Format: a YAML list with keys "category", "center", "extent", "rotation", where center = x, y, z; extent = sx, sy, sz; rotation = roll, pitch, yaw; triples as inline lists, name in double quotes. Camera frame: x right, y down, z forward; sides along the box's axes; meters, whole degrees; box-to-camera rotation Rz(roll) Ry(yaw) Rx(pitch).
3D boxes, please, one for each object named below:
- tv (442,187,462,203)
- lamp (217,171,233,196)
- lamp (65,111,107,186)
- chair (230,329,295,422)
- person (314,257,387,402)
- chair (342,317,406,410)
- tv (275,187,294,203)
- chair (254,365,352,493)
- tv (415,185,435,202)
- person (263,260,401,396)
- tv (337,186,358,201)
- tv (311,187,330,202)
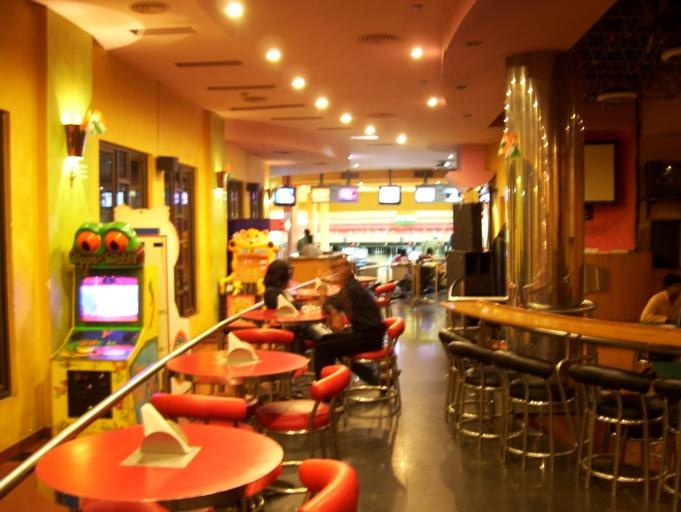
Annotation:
- category: "tv"
  center: [4.558, -2.516, 23.650]
  extent: [0.683, 0.658, 1.297]
  rotation: [2, 6, 33]
- category: "lamp"
  center: [-2.195, -1.398, 10.873]
  extent: [0.195, 0.400, 0.406]
  rotation: [-1, 5, 2]
- category: "lamp"
  center: [-2.806, -1.182, 6.378]
  extent: [0.323, 0.803, 0.363]
  rotation: [-1, 5, 5]
- category: "chair"
  center: [-0.743, 1.208, 5.893]
  extent: [0.918, 1.072, 0.693]
  rotation: [0, -9, 0]
- category: "person"
  center: [0.086, 0.635, 6.194]
  extent: [0.824, 1.159, 0.606]
  rotation: [-3, 5, -13]
- category: "chair"
  center: [0.428, 1.193, 6.626]
  extent: [0.819, 1.304, 0.854]
  rotation: [0, -1, -1]
- category: "tv"
  center: [-1.646, -1.754, 17.196]
  extent: [0.459, 0.492, 0.487]
  rotation: [-2, 3, 13]
- category: "chair"
  center: [-0.218, 1.243, 4.429]
  extent: [0.872, 1.103, 0.920]
  rotation: [1, -2, 5]
- category: "tv"
  center: [3.297, -2.428, 22.314]
  extent: [0.838, 0.624, 0.535]
  rotation: [-2, 5, -5]
- category: "person"
  center: [-0.044, 0.752, 6.442]
  extent: [1.227, 1.383, 0.907]
  rotation: [2, -13, 24]
- category: "tv"
  center: [0.269, -2.335, 21.907]
  extent: [0.560, 0.470, 0.579]
  rotation: [-1, -1, 32]
- category: "tv"
  center: [-0.726, -2.277, 21.950]
  extent: [0.566, 0.449, 0.580]
  rotation: [0, -6, -1]
